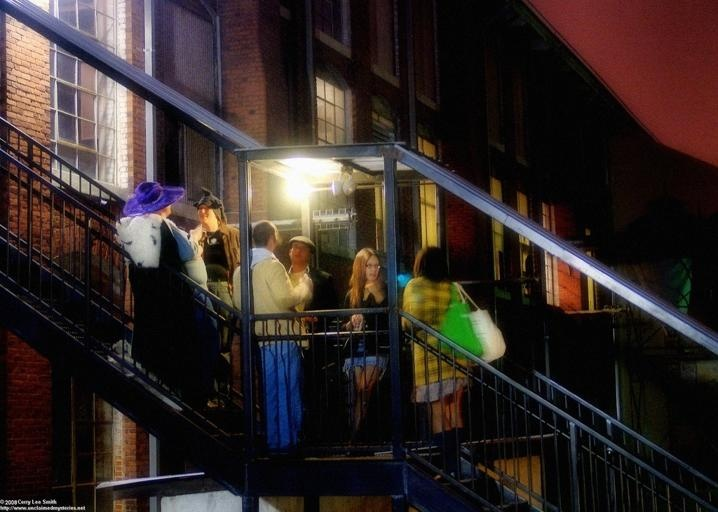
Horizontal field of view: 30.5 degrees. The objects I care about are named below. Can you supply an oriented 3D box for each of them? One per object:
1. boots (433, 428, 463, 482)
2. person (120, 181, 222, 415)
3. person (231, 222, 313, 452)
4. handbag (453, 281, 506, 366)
[{"bbox_3d":[1.326,2.998,19.949,0.389,0.819,0.868,-1,-14,2],"label":"boots"},{"bbox_3d":[-2.988,0.514,20.043,1.280,3.269,1.183,3,15,30],"label":"person"},{"bbox_3d":[-1.301,1.194,20.057,1.199,3.456,0.985,4,-15,-19],"label":"person"},{"bbox_3d":[1.877,1.039,20.294,0.673,1.301,0.638,-2,-14,5],"label":"handbag"}]
